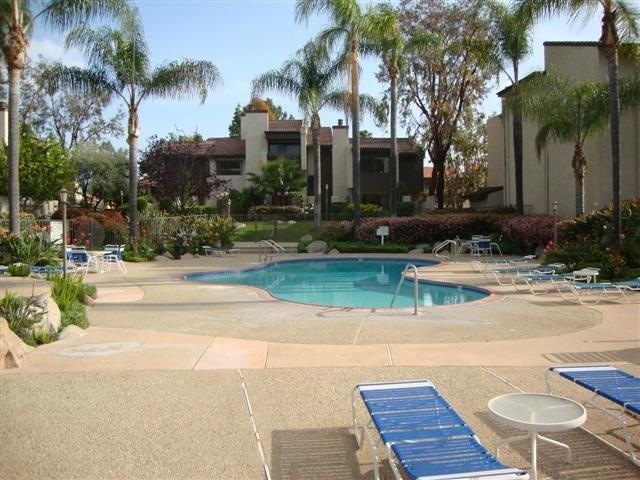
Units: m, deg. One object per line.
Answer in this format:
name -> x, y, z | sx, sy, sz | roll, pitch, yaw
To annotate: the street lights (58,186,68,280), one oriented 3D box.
street lights -> -6.846, -0.277, 15.618 | 0.332, 2.400, 0.354 | -4, -10, -3
